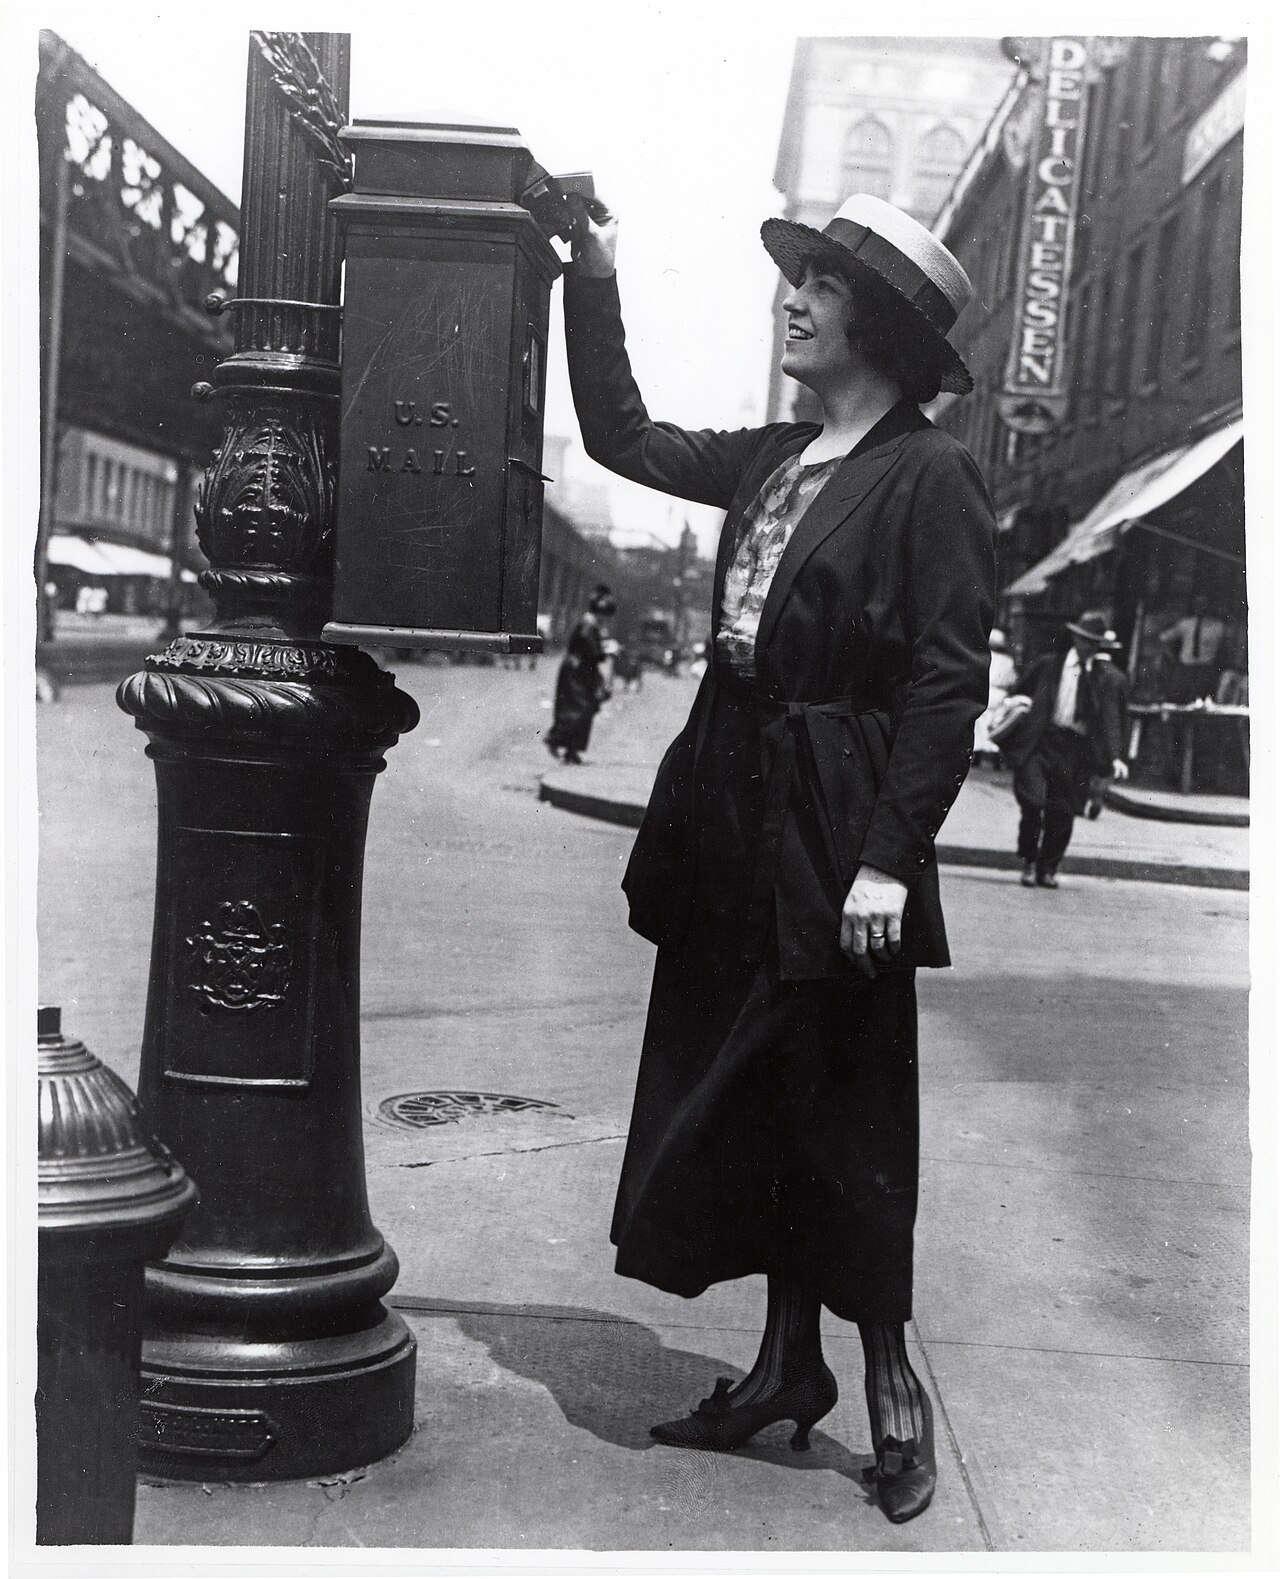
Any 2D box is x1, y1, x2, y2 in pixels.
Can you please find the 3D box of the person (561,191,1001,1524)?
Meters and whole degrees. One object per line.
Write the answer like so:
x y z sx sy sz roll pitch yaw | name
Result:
0.200 0.086 2.768 0.639 1.929 0.506 5 8 13 | person

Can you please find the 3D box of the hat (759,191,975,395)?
0.331 -0.731 2.680 0.315 0.259 0.172 5 8 5 | hat

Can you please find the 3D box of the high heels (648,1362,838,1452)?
0.155 0.986 2.856 0.318 0.209 0.128 1 -17 3 | high heels

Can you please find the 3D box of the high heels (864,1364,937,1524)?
0.382 0.981 2.688 0.069 0.234 0.085 -13 -39 29 | high heels
